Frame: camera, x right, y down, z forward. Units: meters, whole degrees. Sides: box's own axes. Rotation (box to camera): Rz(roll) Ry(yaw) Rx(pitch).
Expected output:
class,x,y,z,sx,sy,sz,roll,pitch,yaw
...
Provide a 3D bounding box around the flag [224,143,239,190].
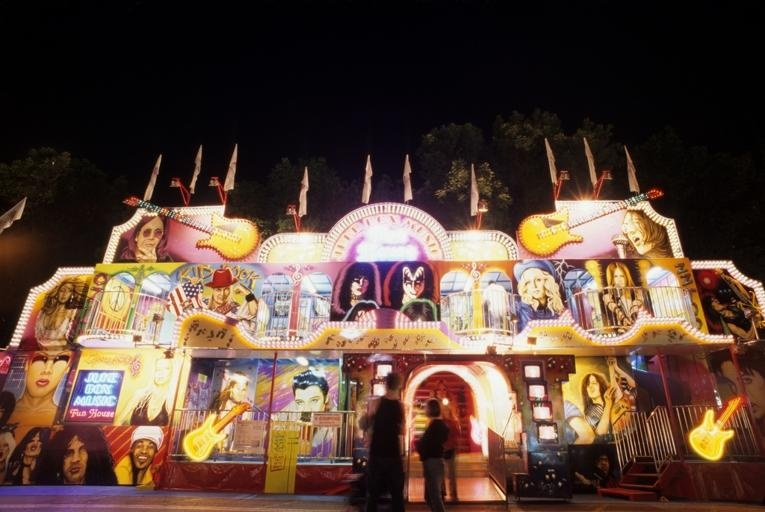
class,x,y,z,sx,sy,sz,roll,pitch,yaw
flag,-7.278,-4.108,24.822,0.379,2.457,2.303,10,-21,-18

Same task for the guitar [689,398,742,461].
class,x,y,z,sx,sy,sz,roll,pitch,yaw
guitar,11.238,5.900,17.546,1.526,2.044,0.526,-7,-22,27

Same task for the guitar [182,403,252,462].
class,x,y,z,sx,sy,sz,roll,pitch,yaw
guitar,-5.803,6.249,18.052,2.570,0.946,0.434,-41,-10,-9
